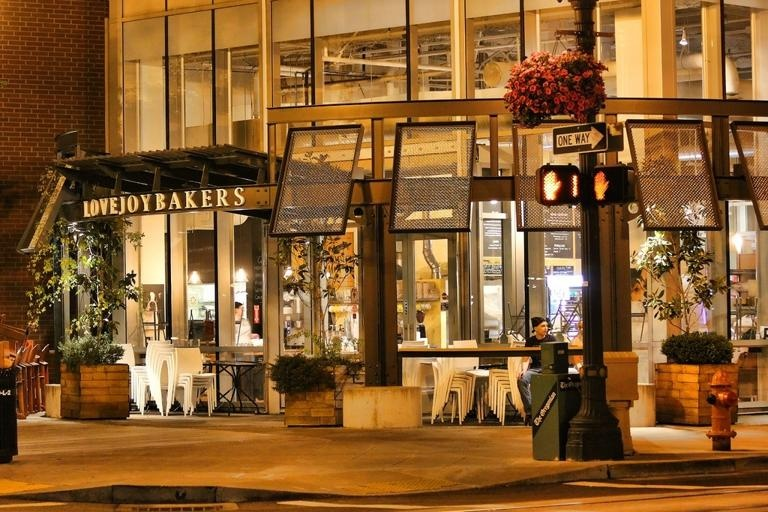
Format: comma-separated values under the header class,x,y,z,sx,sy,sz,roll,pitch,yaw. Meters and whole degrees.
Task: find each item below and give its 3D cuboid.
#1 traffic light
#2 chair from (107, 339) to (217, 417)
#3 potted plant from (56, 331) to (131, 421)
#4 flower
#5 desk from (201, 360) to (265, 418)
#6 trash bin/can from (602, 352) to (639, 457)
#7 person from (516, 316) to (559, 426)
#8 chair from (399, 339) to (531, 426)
class,x,y,z,sx,sy,sz,roll,pitch,yaw
traffic light,3.466,-1.256,20.702,1.566,0.713,0.292,-1,-5,0
chair,-5.083,2.873,27.426,1.637,1.754,2.026,0,0,23
potted plant,-6.692,2.730,26.801,1.432,1.969,1.541,-6,-9,42
flower,3.006,-2.993,20.779,1.707,1.280,0.505,-2,-5,7
desk,-3.603,3.002,28.360,1.607,1.158,1.177,-4,-9,22
trash bin/can,4.290,2.639,21.328,0.639,1.747,0.609,1,0,4
person,3.212,2.379,24.787,0.723,2.246,1.200,-3,1,21
chair,1.784,2.748,25.839,2.754,1.774,2.524,-2,-5,7
